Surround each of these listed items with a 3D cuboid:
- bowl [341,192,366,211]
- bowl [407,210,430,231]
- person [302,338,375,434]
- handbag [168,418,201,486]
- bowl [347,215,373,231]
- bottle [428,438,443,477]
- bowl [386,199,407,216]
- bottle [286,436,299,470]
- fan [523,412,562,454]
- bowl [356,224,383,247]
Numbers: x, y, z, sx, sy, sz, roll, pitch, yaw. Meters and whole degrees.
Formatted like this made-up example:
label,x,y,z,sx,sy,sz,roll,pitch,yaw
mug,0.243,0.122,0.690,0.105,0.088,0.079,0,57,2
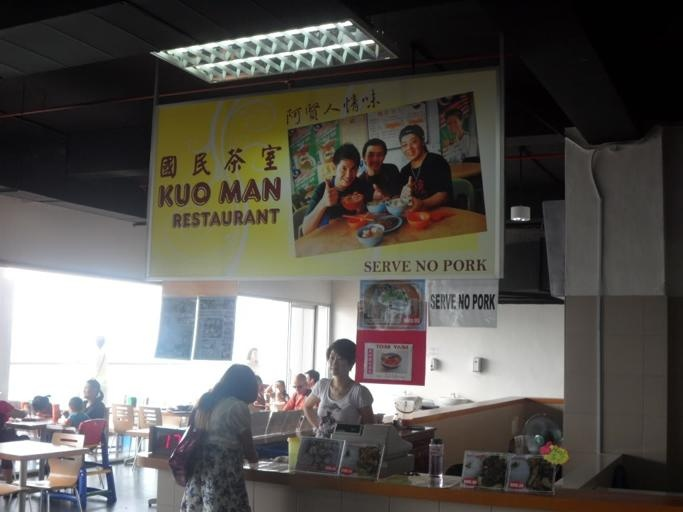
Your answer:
label,x,y,z,sx,sy,sz,roll,pitch,yaw
bowl,0.069,-0.327,3.523,0.108,0.068,0.112,-5,11,1
bowl,0.447,-0.208,3.404,0.102,0.064,0.108,-5,33,3
person,-0.047,1.002,4.454,0.323,0.719,0.737,6,-10,-33
handbag,-1.024,1.293,3.752,0.143,0.391,0.209,6,-11,-35
bowl,0.096,-0.205,3.514,0.077,0.066,0.126,0,2,39
bottle,0.625,1.331,3.839,0.087,0.238,0.121,0,-9,1
bowl,0.325,-0.290,3.445,0.093,0.061,0.095,-2,-1,0
bottle,-0.353,1.385,4.107,0.071,0.214,0.212,3,-9,-21
fan,1.869,1.638,5.381,0.335,0.345,0.739,-3,-9,17
bowl,0.182,-0.115,3.522,0.131,0.136,0.087,-3,-42,35
